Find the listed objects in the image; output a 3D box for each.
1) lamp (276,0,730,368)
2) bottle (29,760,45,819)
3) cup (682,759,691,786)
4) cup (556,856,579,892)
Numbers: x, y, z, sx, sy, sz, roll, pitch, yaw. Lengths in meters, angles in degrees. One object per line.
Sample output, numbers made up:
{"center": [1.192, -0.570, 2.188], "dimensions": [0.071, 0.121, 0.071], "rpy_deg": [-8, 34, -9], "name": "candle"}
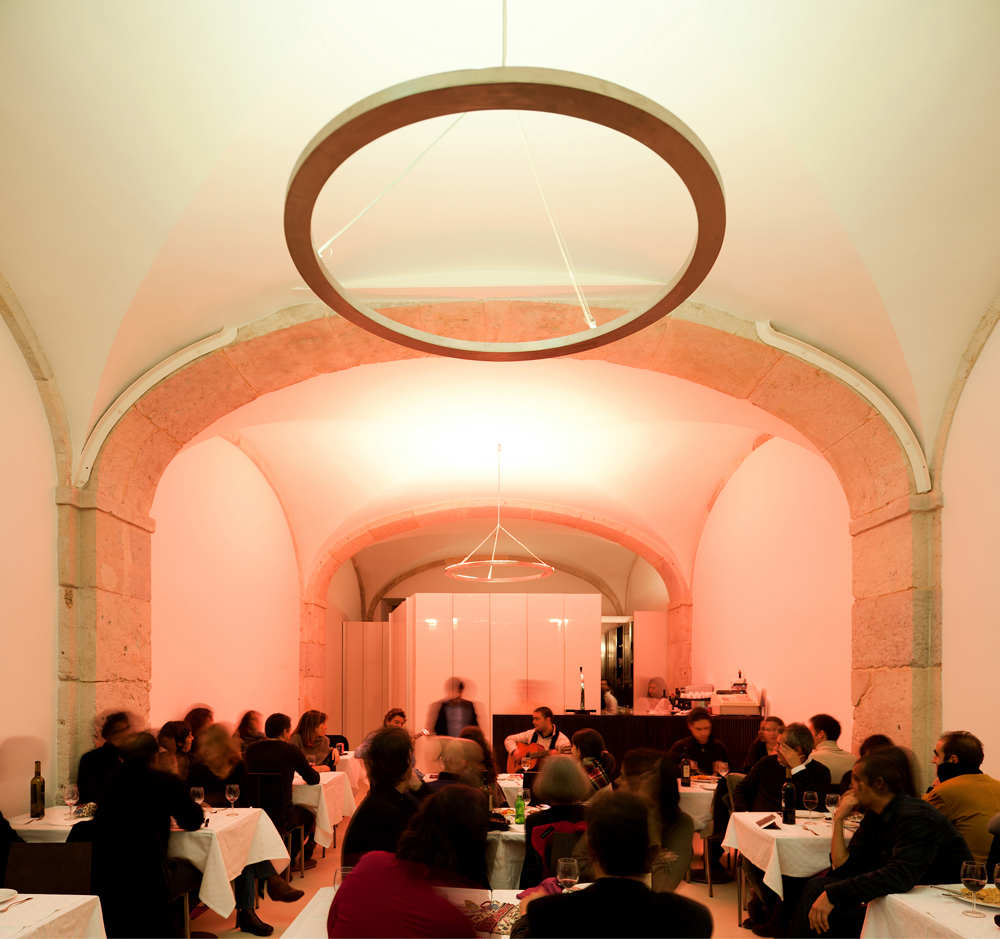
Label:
{"center": [0.027, -1.083, 3.864], "dimensions": [1.587, 1.809, 1.669], "rpy_deg": [4, -48, -4], "name": "lamp"}
{"center": [-2.994, 2.076, 5.901], "dimensions": [0.116, 0.335, 0.612], "rpy_deg": [7, -16, -25], "name": "bottle"}
{"center": [1.536, 2.516, 7.482], "dimensions": [0.106, 0.196, 0.111], "rpy_deg": [0, -11, 0], "name": "cup"}
{"center": [0.243, 1.450, 3.246], "dimensions": [0.067, 0.110, 0.191], "rpy_deg": [0, -15, 0], "name": "cup"}
